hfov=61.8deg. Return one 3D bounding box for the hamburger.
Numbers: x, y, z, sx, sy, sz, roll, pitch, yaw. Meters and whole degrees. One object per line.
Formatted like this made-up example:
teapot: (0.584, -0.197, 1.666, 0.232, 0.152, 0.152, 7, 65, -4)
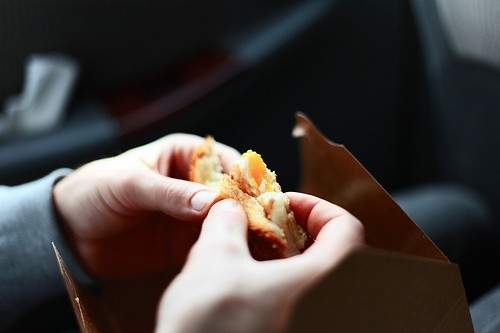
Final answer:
hamburger: (-0.026, 0.043, 0.892, 0.177, 0.139, 0.304, -31, 63, -34)
